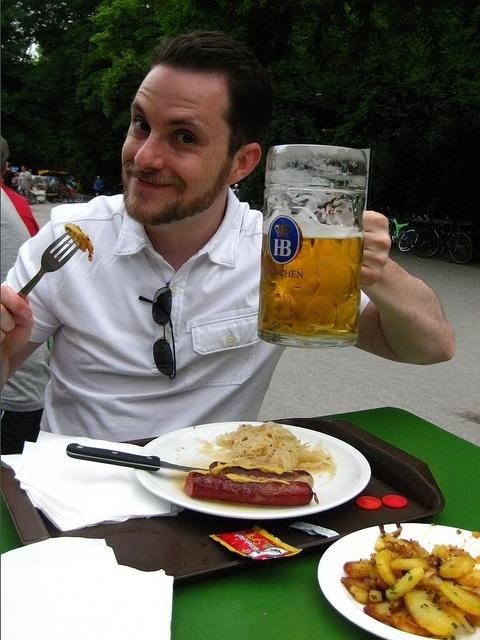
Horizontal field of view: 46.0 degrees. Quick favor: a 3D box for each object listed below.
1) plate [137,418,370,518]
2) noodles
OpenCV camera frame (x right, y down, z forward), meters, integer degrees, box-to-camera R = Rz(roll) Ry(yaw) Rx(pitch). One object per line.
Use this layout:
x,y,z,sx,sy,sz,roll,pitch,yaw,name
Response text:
0.035,0.330,1.273,0.347,0.130,0.366,-5,6,-33,plate
0.059,0.319,1.480,0.287,0.091,0.305,-18,-7,-11,noodles
